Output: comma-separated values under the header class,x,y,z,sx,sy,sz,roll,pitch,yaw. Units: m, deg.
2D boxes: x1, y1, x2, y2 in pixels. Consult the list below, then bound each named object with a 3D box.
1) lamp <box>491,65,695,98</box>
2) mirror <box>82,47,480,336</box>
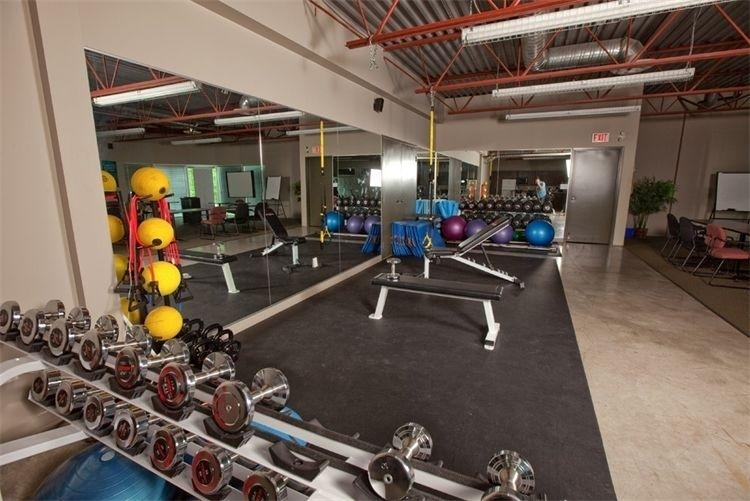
class,x,y,z,sx,sy,sz,roll,pitch,yaw
lamp,3.576,-2.761,7.124,2.715,0.288,0.474,5,12,20
mirror,-1.363,-0.656,5.396,0.465,2.639,3.837,5,12,25
